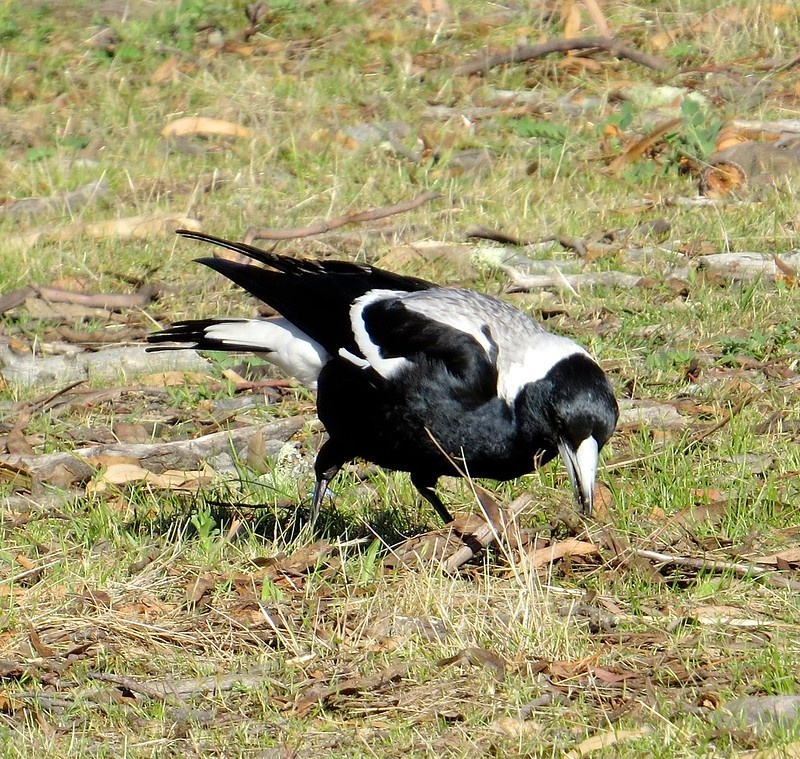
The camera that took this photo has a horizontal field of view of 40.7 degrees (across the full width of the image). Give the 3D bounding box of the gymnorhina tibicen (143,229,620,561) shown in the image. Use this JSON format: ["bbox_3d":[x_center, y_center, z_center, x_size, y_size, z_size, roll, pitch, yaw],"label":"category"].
[{"bbox_3d":[-0.051,-0.069,4.122,2.439,0.726,0.784,26,12,40],"label":"gymnorhina tibicen"}]
